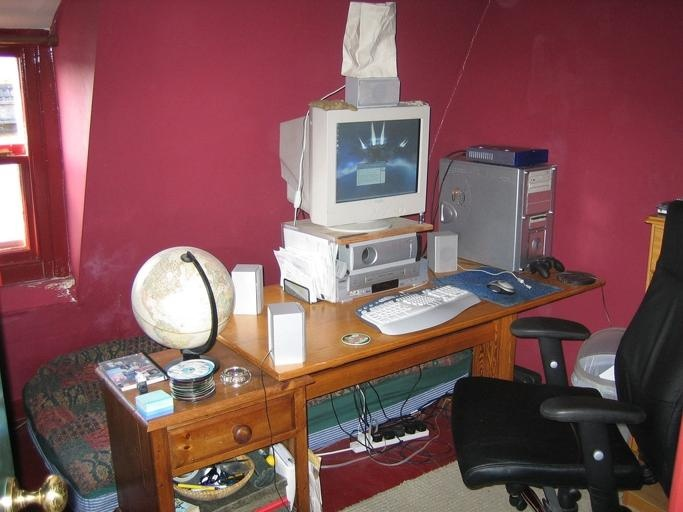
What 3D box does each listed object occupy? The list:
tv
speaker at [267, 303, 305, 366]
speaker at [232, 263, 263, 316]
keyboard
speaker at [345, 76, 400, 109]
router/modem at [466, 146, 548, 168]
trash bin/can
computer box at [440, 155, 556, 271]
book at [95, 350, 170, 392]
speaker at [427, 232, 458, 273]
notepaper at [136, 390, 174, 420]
[{"bbox_3d":[0.017,-0.530,2.965,0.644,0.600,0.643,-9,23,-29],"label":"tv"},{"bbox_3d":[-0.217,0.309,2.231,0.145,0.216,0.150,-2,20,-14],"label":"speaker"},{"bbox_3d":[-0.422,0.147,2.665,0.174,0.252,0.238,0,9,4],"label":"speaker"},{"bbox_3d":[0.348,0.231,2.578,0.570,0.080,0.303,-15,16,-30],"label":"keyboard"},{"bbox_3d":[0.141,-0.778,2.705,0.257,0.140,0.140,-1,15,2],"label":"speaker"},{"bbox_3d":[0.879,-0.547,3.104,0.396,0.093,0.283,13,21,42],"label":"router/modem"},{"bbox_3d":[1.349,0.566,3.000,0.268,0.768,0.351,8,17,23],"label":"trash bin/can"},{"bbox_3d":[0.828,-0.274,3.207,0.324,0.568,0.575,-15,22,-38],"label":"computer box"},{"bbox_3d":[-0.824,0.452,2.230,0.161,0.032,0.217,-11,27,-38],"label":"book"},{"bbox_3d":[0.528,-0.019,3.021,0.168,0.252,0.122,-7,10,-34],"label":"speaker"},{"bbox_3d":[-0.649,0.494,1.958,0.089,0.043,0.089,-7,18,-35],"label":"notepaper"}]
